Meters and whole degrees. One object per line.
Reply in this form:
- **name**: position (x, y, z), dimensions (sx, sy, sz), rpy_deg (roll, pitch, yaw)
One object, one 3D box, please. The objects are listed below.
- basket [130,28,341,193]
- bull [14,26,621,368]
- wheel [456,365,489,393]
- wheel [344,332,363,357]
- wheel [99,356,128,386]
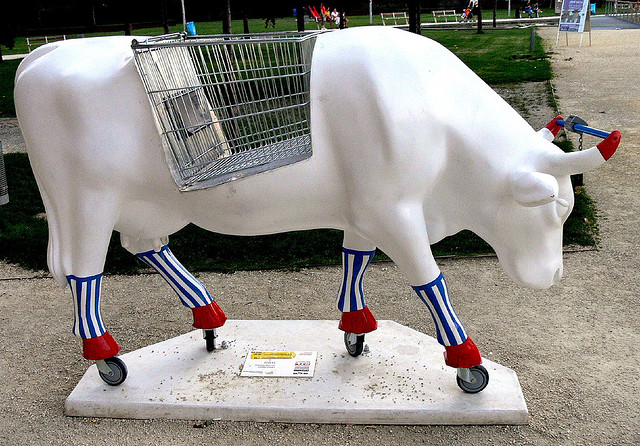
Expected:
- **basket**: position (-0.432, -1.034, 4.985), dimensions (1.265, 0.909, 0.771), rpy_deg (-4, -1, -7)
- **bull**: position (0.461, -0.733, 6.114), dimensions (6.043, 3.744, 2.058), rpy_deg (1, 19, 7)
- **wheel**: position (1.204, 1.225, 4.812), dimensions (0.243, 0.278, 0.097), rpy_deg (-1, 24, 3)
- **wheel**: position (0.295, 1.042, 5.376), dimensions (0.199, 0.200, 0.174), rpy_deg (-1, 12, -25)
- **wheel**: position (-1.720, 1.235, 5.094), dimensions (0.248, 0.276, 0.097), rpy_deg (5, 14, 2)
